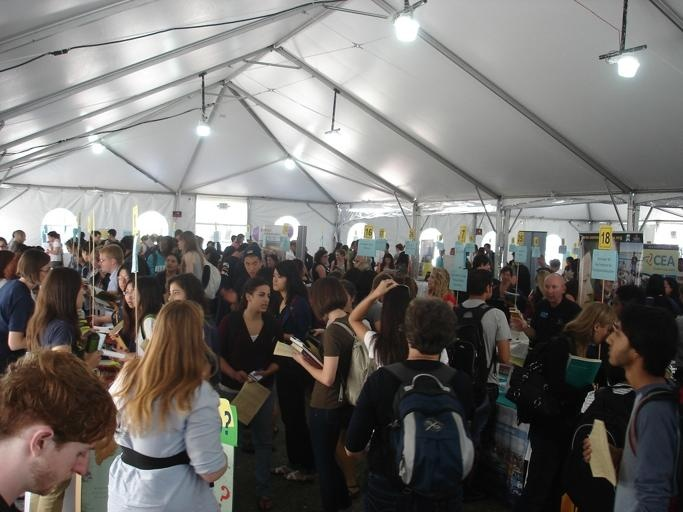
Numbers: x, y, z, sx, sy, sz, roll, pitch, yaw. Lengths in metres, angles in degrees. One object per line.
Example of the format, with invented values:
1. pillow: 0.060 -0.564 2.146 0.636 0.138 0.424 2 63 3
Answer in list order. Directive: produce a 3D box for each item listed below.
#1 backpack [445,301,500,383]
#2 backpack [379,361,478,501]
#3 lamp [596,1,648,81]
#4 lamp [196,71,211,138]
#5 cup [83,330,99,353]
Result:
1. backpack: 0.990 0.626 3.813 0.320 0.576 0.294 10 15 41
2. backpack: 0.449 0.897 2.576 0.413 0.653 0.276 2 -1 -11
3. lamp: 2.973 -2.211 5.265 0.433 0.796 1.048 1 -1 29
4. lamp: -2.574 -2.942 9.290 0.224 0.216 1.002 -17 -34 -24
5. cup: -1.786 0.611 3.566 0.089 0.139 0.145 3 -1 -39
